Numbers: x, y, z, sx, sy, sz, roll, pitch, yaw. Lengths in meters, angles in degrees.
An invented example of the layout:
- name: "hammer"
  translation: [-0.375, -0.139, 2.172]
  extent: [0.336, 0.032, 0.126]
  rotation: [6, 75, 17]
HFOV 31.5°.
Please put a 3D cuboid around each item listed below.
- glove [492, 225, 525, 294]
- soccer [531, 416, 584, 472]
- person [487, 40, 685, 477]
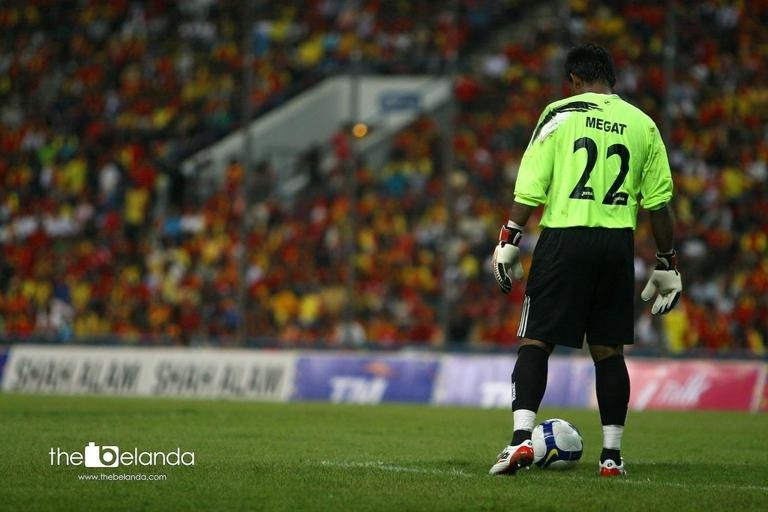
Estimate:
- name: "glove"
  translation: [0.918, -0.001, 10.456]
  extent: [0.187, 0.519, 0.213]
  rotation: [15, -6, 25]
- name: "soccer"
  translation: [1.316, 1.468, 10.558]
  extent: [0.374, 0.386, 0.351]
  rotation: [-4, -14, -2]
- name: "person"
  translation: [1.515, 0.026, 10.431]
  extent: [1.360, 3.325, 0.632]
  rotation: [3, -12, 4]
